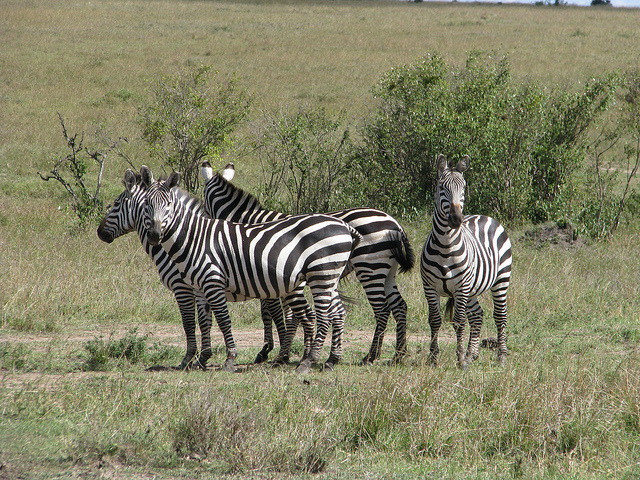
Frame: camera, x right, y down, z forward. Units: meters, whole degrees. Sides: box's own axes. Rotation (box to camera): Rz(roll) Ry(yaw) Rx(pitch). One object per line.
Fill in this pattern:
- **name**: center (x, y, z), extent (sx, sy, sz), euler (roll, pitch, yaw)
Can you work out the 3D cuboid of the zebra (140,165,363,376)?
- **zebra**: center (-1.501, 0.690, 22.180), extent (4.426, 4.429, 1.407), euler (-2, 23, 1)
